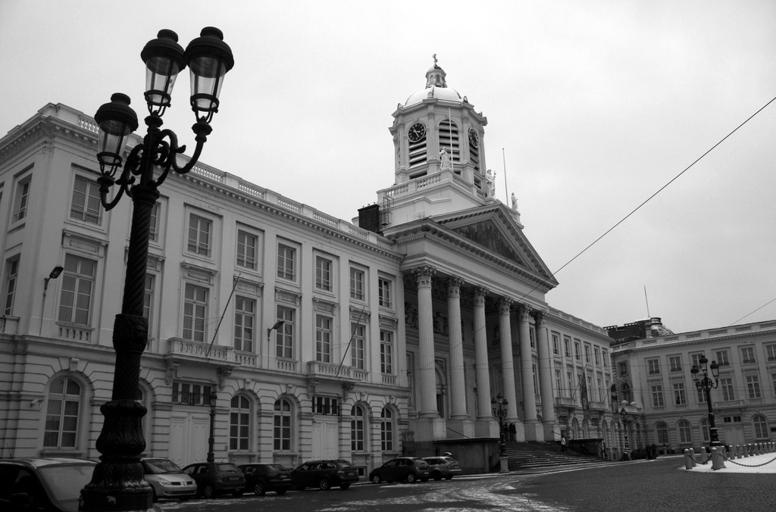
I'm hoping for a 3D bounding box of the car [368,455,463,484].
[{"bbox_3d":[1.733,12.886,43.352,5.024,1.639,2.217,1,-23,-10],"label":"car"}]

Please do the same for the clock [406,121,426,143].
[{"bbox_3d":[2.795,-11.606,67.217,1.883,1.852,0.505,-17,-27,30],"label":"clock"}]

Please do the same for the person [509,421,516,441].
[{"bbox_3d":[10.559,14.617,60.035,0.479,1.591,1.514,-11,-24,17],"label":"person"}]

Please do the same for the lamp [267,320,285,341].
[{"bbox_3d":[-7.155,4.555,46.057,1.144,1.650,2.154,1,-23,-8],"label":"lamp"}]

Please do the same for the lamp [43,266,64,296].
[{"bbox_3d":[-16.997,1.132,36.225,0.817,1.432,1.100,9,-26,-26],"label":"lamp"}]
